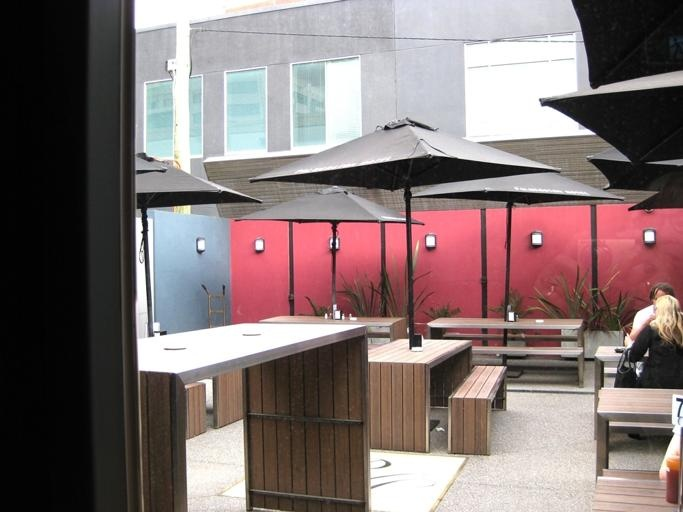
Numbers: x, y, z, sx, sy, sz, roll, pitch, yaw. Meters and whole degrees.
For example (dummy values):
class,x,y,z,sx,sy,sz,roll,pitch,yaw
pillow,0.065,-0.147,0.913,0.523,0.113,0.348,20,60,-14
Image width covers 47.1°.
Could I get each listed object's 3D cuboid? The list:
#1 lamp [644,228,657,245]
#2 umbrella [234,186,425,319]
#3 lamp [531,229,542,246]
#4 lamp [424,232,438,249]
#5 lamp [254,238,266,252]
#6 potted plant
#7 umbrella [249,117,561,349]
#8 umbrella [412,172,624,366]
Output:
class,x,y,z,sx,sy,sz,roll,pitch,yaw
lamp,3.567,-0.218,9.009,0.056,0.201,0.212,-1,2,-16
umbrella,-0.234,-0.289,9.786,1.710,1.296,1.896,2,0,-2
lamp,2.557,-0.215,10.263,0.153,0.242,0.166,0,3,12
lamp,1.248,-0.207,10.888,0.174,0.273,0.185,2,5,19
lamp,-1.217,-0.162,11.866,0.195,0.328,0.169,0,1,1
potted plant,2.915,0.691,9.668,1.196,0.960,0.823,-1,0,18
umbrella,0.597,-0.525,6.505,2.154,1.654,1.926,-1,0,7
umbrella,2.009,-0.109,8.877,1.964,1.875,2.119,2,3,21
